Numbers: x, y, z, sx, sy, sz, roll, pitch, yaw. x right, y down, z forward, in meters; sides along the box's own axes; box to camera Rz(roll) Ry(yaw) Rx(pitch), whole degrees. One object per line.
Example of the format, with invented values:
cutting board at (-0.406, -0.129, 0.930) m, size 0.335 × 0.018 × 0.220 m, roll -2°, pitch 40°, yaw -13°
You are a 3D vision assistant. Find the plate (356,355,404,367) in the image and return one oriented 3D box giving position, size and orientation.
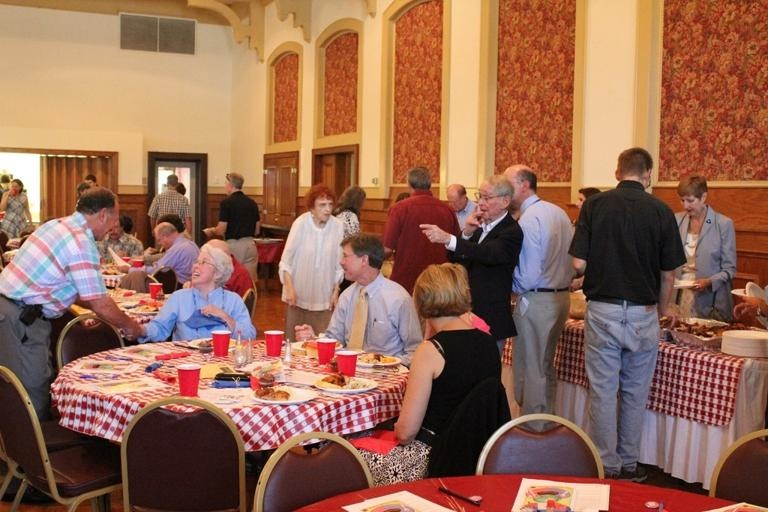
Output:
plate at (-0.026, 0.618, 3.687) m, size 0.248 × 0.059 × 0.160 m, roll -1°, pitch 7°, yaw 5°

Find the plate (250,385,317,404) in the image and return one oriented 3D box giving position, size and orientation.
plate at (-0.490, 0.688, 3.159) m, size 0.277 × 0.071 × 0.253 m, roll 1°, pitch 7°, yaw 18°

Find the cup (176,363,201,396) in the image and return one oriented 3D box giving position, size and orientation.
cup at (-0.954, 0.598, 3.083) m, size 0.142 × 0.148 × 0.139 m, roll 0°, pitch 2°, yaw 0°

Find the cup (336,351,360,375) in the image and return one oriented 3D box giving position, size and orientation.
cup at (-0.198, 0.594, 3.466) m, size 0.114 × 0.096 × 0.124 m, roll 0°, pitch -3°, yaw 0°

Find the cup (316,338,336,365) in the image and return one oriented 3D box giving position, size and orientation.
cup at (-0.332, 0.545, 3.614) m, size 0.130 × 0.128 × 0.130 m, roll 2°, pitch 5°, yaw 0°

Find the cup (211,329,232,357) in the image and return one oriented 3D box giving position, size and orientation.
cup at (-0.947, 0.510, 3.705) m, size 0.137 × 0.136 × 0.137 m, roll 1°, pitch 6°, yaw 0°

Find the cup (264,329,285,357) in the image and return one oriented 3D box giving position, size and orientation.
cup at (-0.652, 0.521, 3.799) m, size 0.150 × 0.152 × 0.146 m, roll 1°, pitch 5°, yaw 0°

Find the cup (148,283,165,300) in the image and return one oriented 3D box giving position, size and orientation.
cup at (-1.994, 0.311, 5.465) m, size 0.152 × 0.138 × 0.143 m, roll -1°, pitch -2°, yaw 0°

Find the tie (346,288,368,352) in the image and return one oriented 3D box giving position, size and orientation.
tie at (-0.167, 0.398, 4.066) m, size 0.136 × 0.384 × 0.222 m, roll -2°, pitch 7°, yaw -6°

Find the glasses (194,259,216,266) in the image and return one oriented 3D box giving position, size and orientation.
glasses at (-1.161, 0.035, 4.063) m, size 0.121 × 0.058 × 0.025 m, roll -2°, pitch 7°, yaw -3°

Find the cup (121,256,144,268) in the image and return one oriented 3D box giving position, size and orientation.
cup at (-2.680, 0.067, 6.738) m, size 0.196 × 0.095 × 0.255 m, roll 2°, pitch -4°, yaw -14°

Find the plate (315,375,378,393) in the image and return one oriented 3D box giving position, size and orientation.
plate at (-0.198, 0.671, 3.319) m, size 0.332 × 0.071 × 0.183 m, roll -3°, pitch 7°, yaw -15°
